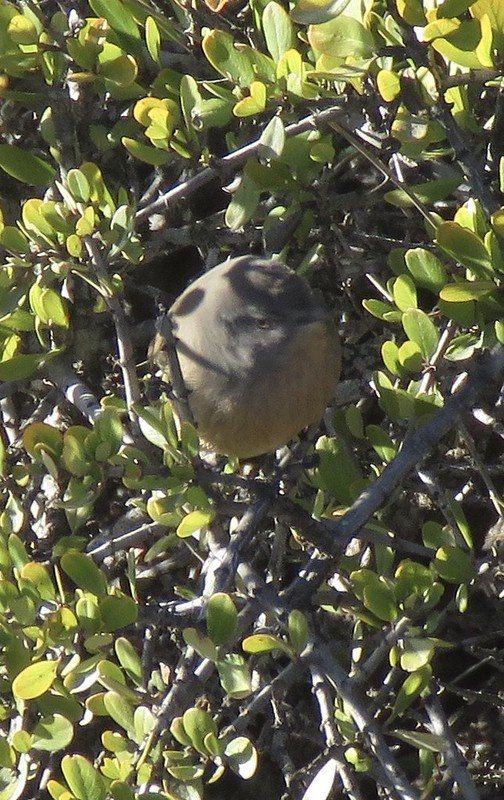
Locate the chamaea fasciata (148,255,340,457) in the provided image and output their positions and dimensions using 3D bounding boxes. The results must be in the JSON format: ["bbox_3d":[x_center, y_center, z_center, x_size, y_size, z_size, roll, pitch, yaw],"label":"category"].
[{"bbox_3d":[-0.011,-0.035,1.195,0.286,0.322,0.183,-1,47,0],"label":"chamaea fasciata"}]
